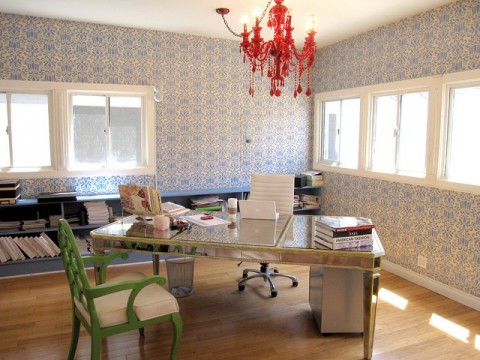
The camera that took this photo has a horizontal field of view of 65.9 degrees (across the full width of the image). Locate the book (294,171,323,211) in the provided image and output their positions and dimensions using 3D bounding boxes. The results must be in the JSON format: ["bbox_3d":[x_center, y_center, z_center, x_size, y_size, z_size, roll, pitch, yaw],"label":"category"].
[{"bbox_3d":[1.163,0.181,6.256,0.682,0.634,0.362,-4,4,-42],"label":"book"}]

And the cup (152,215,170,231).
[{"bbox_3d":[-0.760,0.414,3.660,0.162,0.135,0.149,0,1,0],"label":"cup"}]

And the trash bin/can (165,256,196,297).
[{"bbox_3d":[-0.711,1.169,4.565,0.442,0.431,0.426,0,1,-4],"label":"trash bin/can"}]

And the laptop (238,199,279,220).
[{"bbox_3d":[0.189,0.314,3.932,0.319,0.182,0.238,1,4,14],"label":"laptop"}]

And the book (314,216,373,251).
[{"bbox_3d":[0.891,0.407,3.342,0.406,0.173,0.299,-2,6,-19],"label":"book"}]
